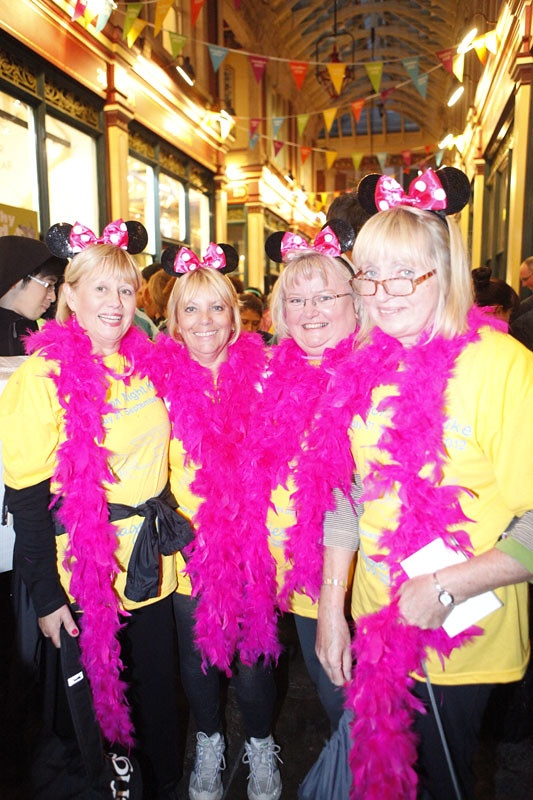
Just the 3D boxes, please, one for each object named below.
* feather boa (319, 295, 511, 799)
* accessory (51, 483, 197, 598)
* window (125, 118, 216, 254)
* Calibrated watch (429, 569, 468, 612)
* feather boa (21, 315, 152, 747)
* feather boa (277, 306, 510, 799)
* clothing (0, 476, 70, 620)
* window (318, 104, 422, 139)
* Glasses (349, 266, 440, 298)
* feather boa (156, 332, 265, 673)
[{"bbox_3d":[0.335,0.333,1.417,0.336,1.217,0.329,2,-7,3],"label":"feather boa"},{"bbox_3d":[-0.404,0.411,1.877,0.311,0.196,0.256,-10,4,-14],"label":"accessory"},{"bbox_3d":[-1.343,-2.671,8.568,0.121,1.629,2.791,-12,24,-33],"label":"window"},{"bbox_3d":[0.369,0.404,1.286,0.050,0.077,0.081,-23,-17,1],"label":"Calibrated watch"},{"bbox_3d":[-0.543,0.405,1.860,0.223,1.234,0.387,-6,14,-22],"label":"feather boa"},{"bbox_3d":[0.408,0.358,1.528,0.295,1.073,0.631,6,-6,-25],"label":"feather boa"},{"bbox_3d":[-0.653,0.416,1.746,0.118,0.385,0.152,-9,15,-31],"label":"clothing"},{"bbox_3d":[3.692,-9.801,21.732,3.202,1.059,3.010,3,13,13],"label":"window"},{"bbox_3d":[0.279,-0.275,1.450,0.090,0.066,0.210,-11,16,-39],"label":"Glasses"},{"bbox_3d":[-0.148,0.274,2.112,0.308,1.225,0.442,-5,-3,12],"label":"feather boa"}]
